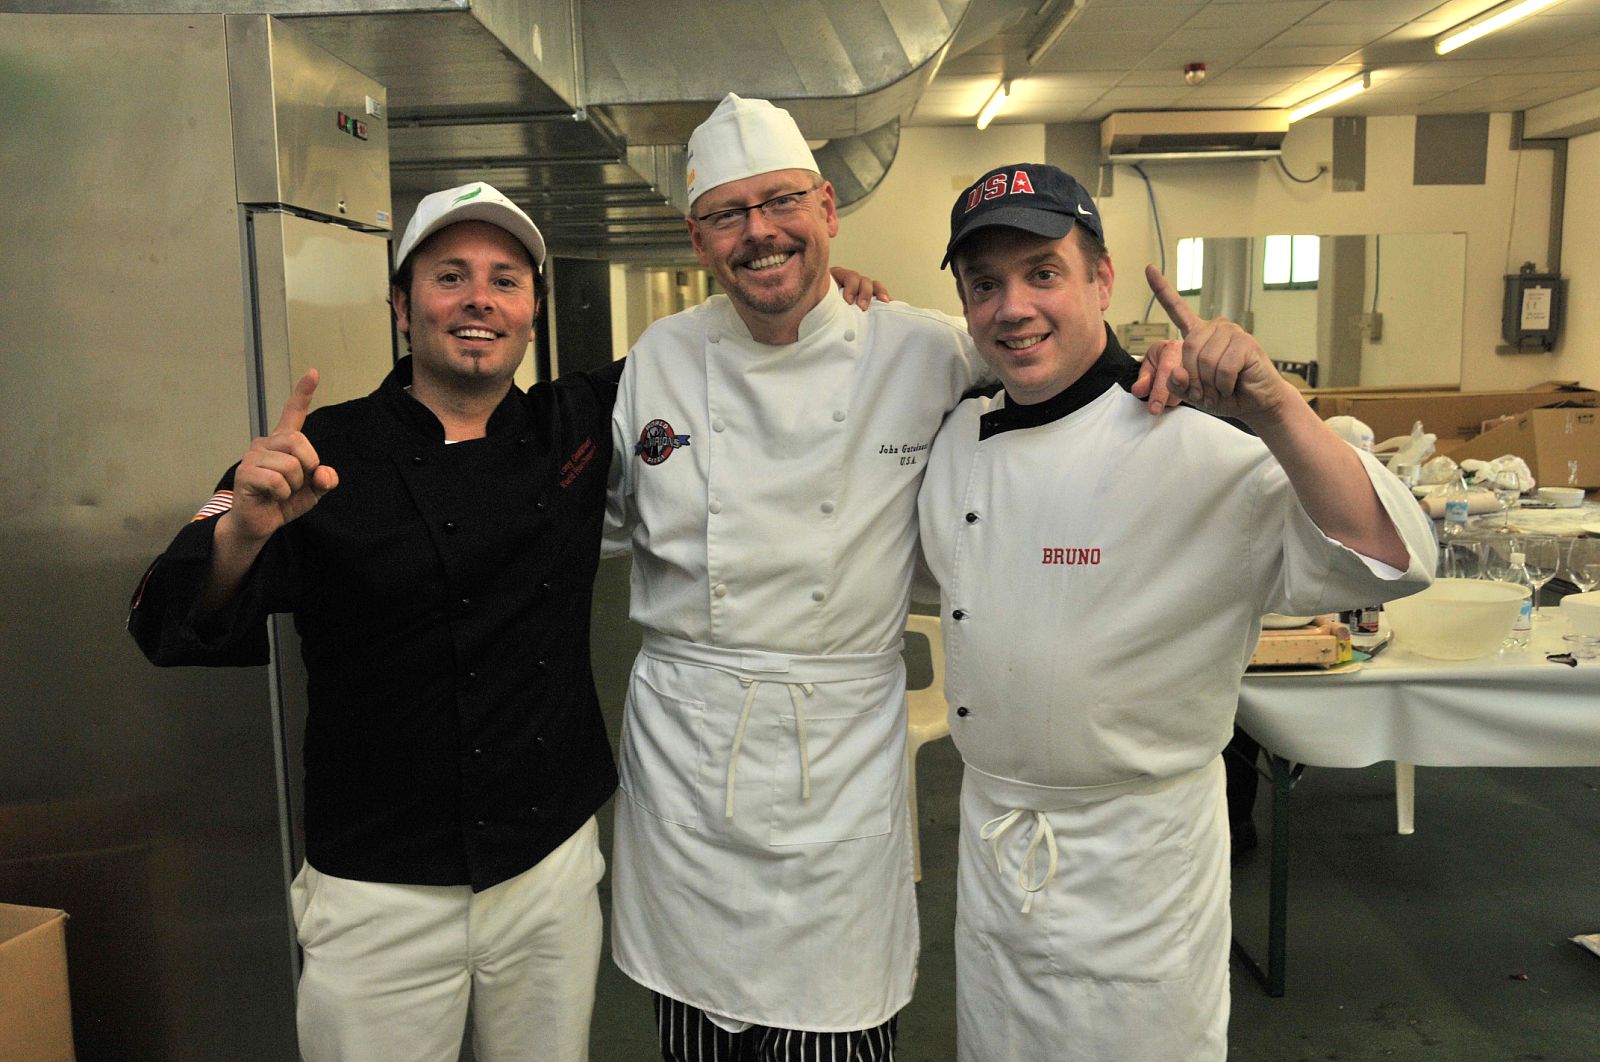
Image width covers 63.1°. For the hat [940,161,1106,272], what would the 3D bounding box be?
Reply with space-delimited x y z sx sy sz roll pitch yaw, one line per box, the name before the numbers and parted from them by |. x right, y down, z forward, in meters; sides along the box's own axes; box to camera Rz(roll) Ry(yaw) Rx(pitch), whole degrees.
hat | 0.472 -0.699 2.857 0.314 0.187 0.416 -7 4 20

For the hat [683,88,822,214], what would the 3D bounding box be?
hat | -0.145 -0.908 3.123 0.319 0.221 0.351 -12 4 39

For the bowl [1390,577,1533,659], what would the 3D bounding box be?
bowl | 2.030 0.278 4.041 0.448 0.196 0.445 -4 7 0

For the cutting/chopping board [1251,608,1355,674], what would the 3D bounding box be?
cutting/chopping board | 1.499 0.337 3.869 0.296 0.127 0.307 -1 1 -5
